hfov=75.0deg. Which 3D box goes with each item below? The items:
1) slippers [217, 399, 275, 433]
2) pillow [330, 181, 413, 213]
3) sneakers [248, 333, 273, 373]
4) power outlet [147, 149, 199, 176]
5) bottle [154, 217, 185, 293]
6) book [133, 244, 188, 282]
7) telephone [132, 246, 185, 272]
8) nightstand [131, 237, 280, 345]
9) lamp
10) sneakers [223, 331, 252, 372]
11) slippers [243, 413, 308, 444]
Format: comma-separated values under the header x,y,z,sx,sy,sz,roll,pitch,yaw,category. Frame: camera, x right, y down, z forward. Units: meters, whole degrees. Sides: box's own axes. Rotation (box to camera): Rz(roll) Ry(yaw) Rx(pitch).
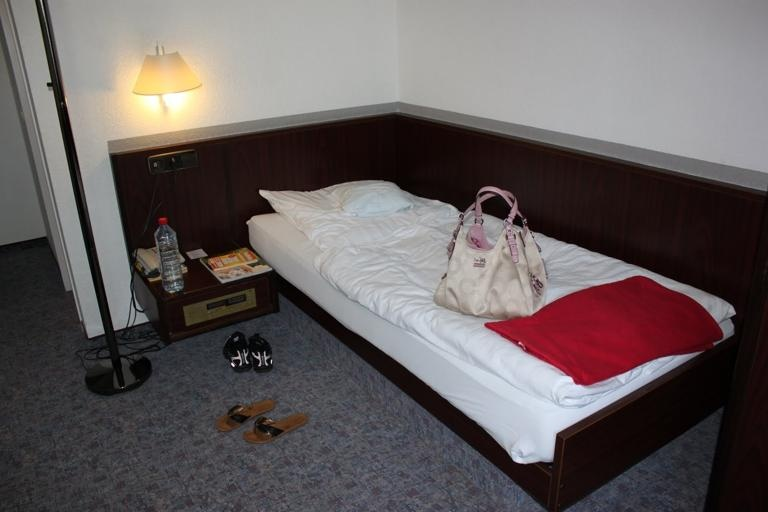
x,y,z,sx,sy,sz,roll,pitch,yaw,category
-0.716,0.827,2.612,0.233,0.051,0.120,-16,26,-35,slippers
-0.131,-0.414,3.539,0.334,0.105,0.329,-13,33,-23,pillow
-0.722,0.566,2.982,0.099,0.091,0.225,-13,44,-23,sneakers
-1.311,-0.583,3.157,0.275,0.134,0.079,-15,21,-33,power outlet
-1.290,0.010,3.045,0.130,0.403,0.239,-8,12,-24,bottle
-1.466,0.030,3.158,0.240,0.083,0.233,-16,47,-33,book
-1.467,0.018,3.158,0.208,0.067,0.195,-17,46,-31,telephone
-1.073,0.303,3.076,0.644,0.317,0.652,-16,33,-28,nightstand
-1.305,-1.053,3.052,0.406,0.414,0.287,-7,12,-16,lamp
-0.858,0.578,2.956,0.121,0.107,0.260,-16,27,-16,sneakers
-0.533,0.864,2.530,0.254,0.067,0.121,-15,23,-35,slippers
